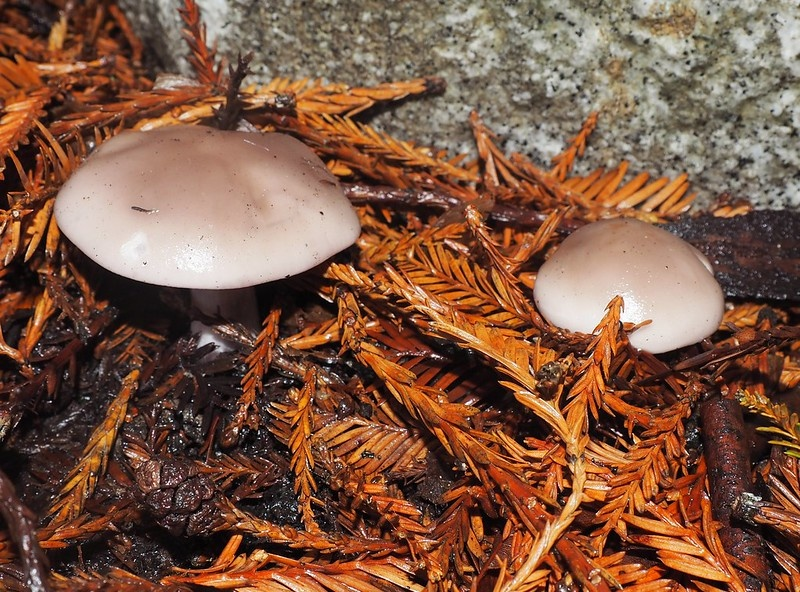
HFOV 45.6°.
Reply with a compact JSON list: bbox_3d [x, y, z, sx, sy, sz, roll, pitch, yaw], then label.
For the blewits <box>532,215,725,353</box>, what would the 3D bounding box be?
[{"bbox_3d":[0.612,-0.033,2.500,0.472,0.171,0.353,25,54,6],"label":"blewits"}]
